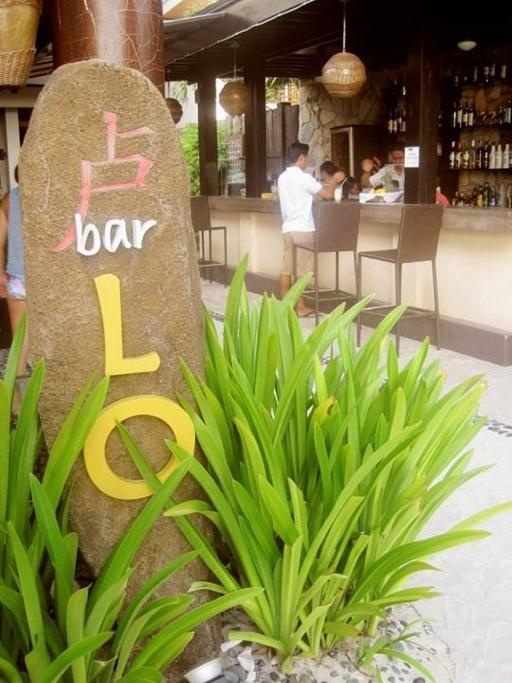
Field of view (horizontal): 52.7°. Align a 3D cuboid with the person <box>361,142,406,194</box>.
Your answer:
[{"bbox_3d":[1.778,-2.307,6.662,0.776,0.382,0.492,3,13,25],"label":"person"}]

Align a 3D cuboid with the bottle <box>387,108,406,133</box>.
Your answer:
[{"bbox_3d":[2.280,-3.614,8.497,0.167,0.419,0.420,-2,10,-10],"label":"bottle"}]

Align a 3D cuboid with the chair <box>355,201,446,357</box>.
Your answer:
[{"bbox_3d":[1.110,-0.517,4.222,0.765,1.123,0.926,9,13,42],"label":"chair"}]

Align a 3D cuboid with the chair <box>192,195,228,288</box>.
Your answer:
[{"bbox_3d":[-0.585,-1.352,6.755,0.421,1.033,0.548,-2,11,-13],"label":"chair"}]
